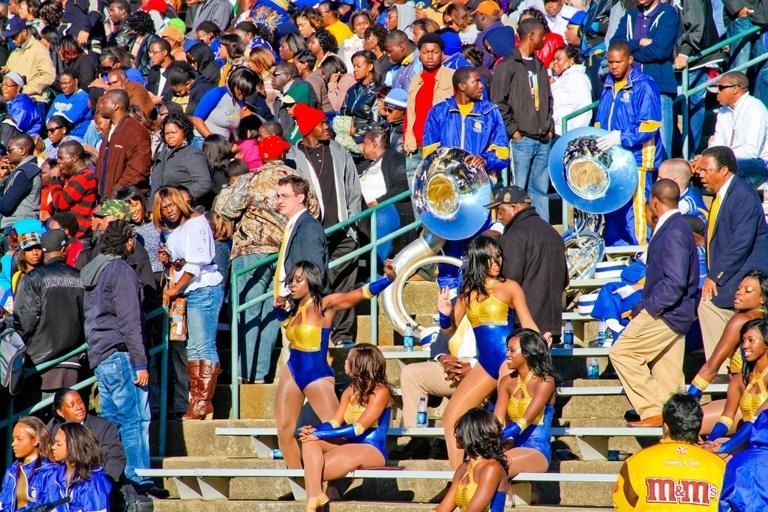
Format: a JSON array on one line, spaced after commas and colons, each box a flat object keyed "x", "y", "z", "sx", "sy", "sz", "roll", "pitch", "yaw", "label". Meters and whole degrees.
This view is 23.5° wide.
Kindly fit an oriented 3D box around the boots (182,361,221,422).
[{"x": -2.189, "y": 1.592, "z": 21.984, "sx": 0.376, "sy": 0.732, "sz": 0.356, "roll": 4, "pitch": -8, "yaw": -9, "label": "boots"}]

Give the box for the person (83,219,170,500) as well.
[{"x": -3.056, "y": 1.135, "z": 21.533, "sx": 0.884, "sy": 3.153, "sz": 1.183, "roll": -4, "pitch": 8, "yaw": -14, "label": "person"}]

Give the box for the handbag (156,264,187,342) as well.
[{"x": -2.436, "y": 0.612, "z": 22.084, "sx": 0.374, "sy": 0.861, "sz": 0.253, "roll": 2, "pitch": 4, "yaw": 32, "label": "handbag"}]

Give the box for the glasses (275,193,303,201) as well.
[{"x": -1.103, "y": -0.684, "z": 21.378, "sx": 0.172, "sy": 0.068, "sz": 0.130, "roll": 10, "pitch": -3, "yaw": -38, "label": "glasses"}]

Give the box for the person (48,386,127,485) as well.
[{"x": -3.307, "y": 1.947, "z": 20.573, "sx": 0.970, "sy": 1.177, "sz": 0.640, "roll": 19, "pitch": -2, "yaw": -31, "label": "person"}]
